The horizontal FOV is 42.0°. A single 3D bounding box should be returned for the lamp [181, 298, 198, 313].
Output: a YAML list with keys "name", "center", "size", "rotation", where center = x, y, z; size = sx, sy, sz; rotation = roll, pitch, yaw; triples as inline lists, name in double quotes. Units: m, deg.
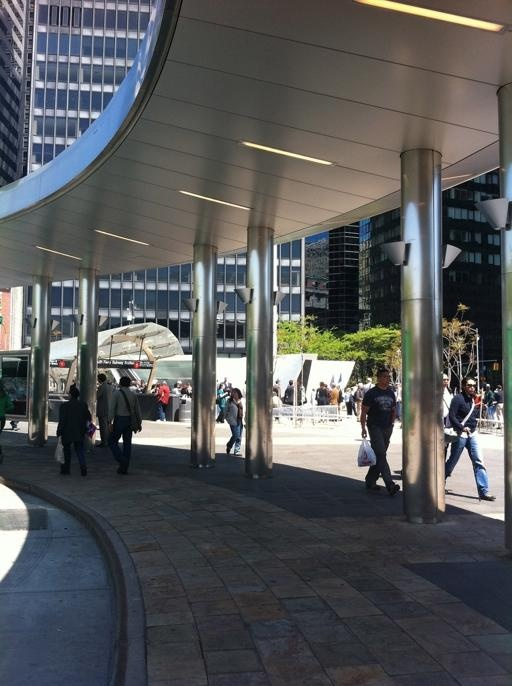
- name: "lamp"
  center: [-1.222, -0.710, 12.620]
  size: [0.230, 0.358, 0.238]
  rotation: [-1, 0, -12]

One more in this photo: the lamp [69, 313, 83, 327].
- name: "lamp"
  center: [-4.476, -0.590, 16.774]
  size: [0.252, 0.369, 1.277]
  rotation: [1, -3, -18]

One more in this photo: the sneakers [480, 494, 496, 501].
- name: "sneakers"
  center: [3.083, 2.057, 8.893]
  size: [0.216, 0.109, 0.081]
  rotation: [-5, -5, 18]

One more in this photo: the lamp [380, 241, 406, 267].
- name: "lamp"
  center: [1.522, -0.995, 7.349]
  size: [0.277, 0.265, 0.329]
  rotation: [1, -2, 3]

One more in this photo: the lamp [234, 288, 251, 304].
- name: "lamp"
  center: [-0.214, -0.794, 11.338]
  size: [0.225, 0.221, 0.262]
  rotation: [1, 1, -18]
